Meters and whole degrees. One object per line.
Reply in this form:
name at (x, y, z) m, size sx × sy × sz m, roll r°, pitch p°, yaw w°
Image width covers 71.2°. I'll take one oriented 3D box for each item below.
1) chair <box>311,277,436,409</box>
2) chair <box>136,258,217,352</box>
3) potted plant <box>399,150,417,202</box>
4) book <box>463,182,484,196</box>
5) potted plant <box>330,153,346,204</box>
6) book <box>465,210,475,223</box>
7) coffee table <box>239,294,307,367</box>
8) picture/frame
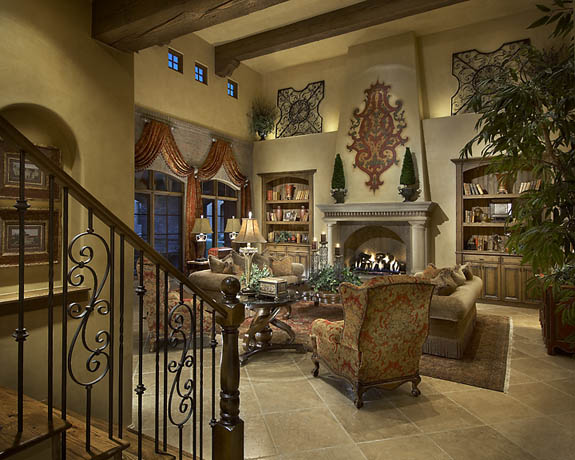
chair at (0.791, 0.989, 4.219) m, size 1.008 × 1.405 × 1.186 m, roll 1°, pitch -2°, yaw -19°
chair at (-1.489, 0.860, 5.420) m, size 1.039 × 1.248 × 1.073 m, roll 7°, pitch 13°, yaw 8°
potted plant at (2.540, -1.146, 8.374) m, size 0.338 × 1.115 × 0.362 m, roll 3°, pitch 5°, yaw 33°
book at (3.746, -0.796, 8.088) m, size 0.376 × 0.398 × 0.222 m, roll 0°, pitch -11°, yaw 6°
potted plant at (1.207, -1.157, 9.184) m, size 0.302 × 1.149 × 0.409 m, roll -1°, pitch 4°, yaw -13°
book at (3.683, -0.278, 8.118) m, size 0.195 × 0.298 × 0.206 m, roll 1°, pitch 0°, yaw 10°
coffee table at (-0.283, 1.264, 5.260) m, size 0.994 × 0.761 × 1.114 m, roll -8°, pitch -16°, yaw 7°
picture/frame at (-1.968, -0.197, 3.064) m, size 0.415 × 0.925 × 0.167 m, roll -3°, pitch 5°, yaw -31°
